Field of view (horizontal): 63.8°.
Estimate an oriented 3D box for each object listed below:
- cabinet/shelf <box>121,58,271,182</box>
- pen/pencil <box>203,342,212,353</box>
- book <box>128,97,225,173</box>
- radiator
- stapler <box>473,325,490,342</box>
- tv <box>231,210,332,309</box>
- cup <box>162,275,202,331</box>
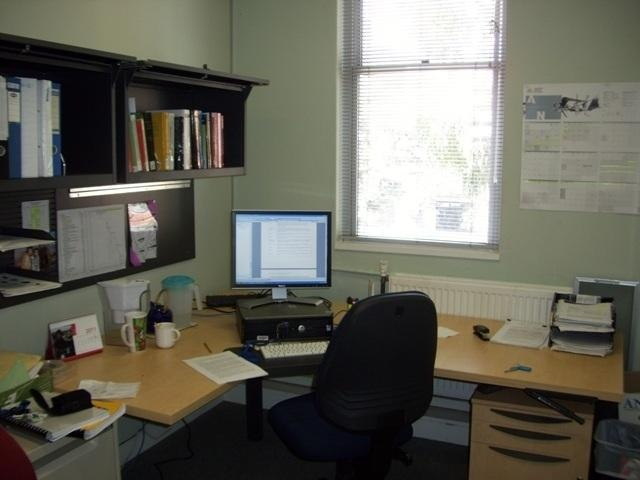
[{"bbox_3d":[-0.710,-0.693,2.886,0.457,0.638,0.919,2,6,27],"label":"cabinet/shelf"},{"bbox_3d":[-0.587,0.559,2.680,0.022,0.020,0.184,-3,11,-20],"label":"pen/pencil"},{"bbox_3d":[-0.779,-0.550,2.746,0.260,0.372,0.487,5,6,36],"label":"book"},{"bbox_3d":[1.037,0.347,3.425,1.369,0.727,0.949,10,11,37],"label":"radiator"},{"bbox_3d":[0.903,0.520,2.883,0.062,0.075,0.082,-1,14,-15],"label":"stapler"},{"bbox_3d":[-0.221,0.090,2.926,0.547,0.512,0.095,0,-2,-5],"label":"tv"},{"bbox_3d":[-0.808,0.354,2.965,0.206,0.307,0.178,2,4,21],"label":"cup"}]
